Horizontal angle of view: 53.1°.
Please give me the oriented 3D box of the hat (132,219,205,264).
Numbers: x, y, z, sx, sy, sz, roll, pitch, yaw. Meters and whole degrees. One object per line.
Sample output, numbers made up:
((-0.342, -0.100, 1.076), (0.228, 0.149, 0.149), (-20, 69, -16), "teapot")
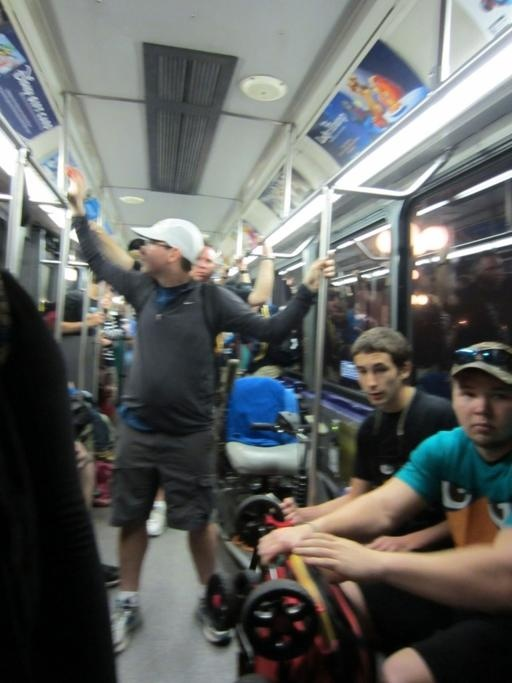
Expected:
((-0.405, -0.526, 2.547), (0.319, 0.173, 0.216), (26, 4, -36), "hat")

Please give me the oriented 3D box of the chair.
((0.056, 0.604, 3.725), (0.528, 0.721, 0.643), (1, -7, -6), "chair")
